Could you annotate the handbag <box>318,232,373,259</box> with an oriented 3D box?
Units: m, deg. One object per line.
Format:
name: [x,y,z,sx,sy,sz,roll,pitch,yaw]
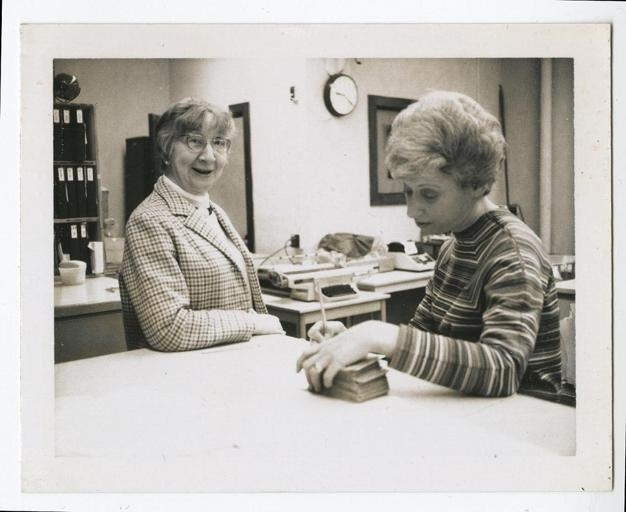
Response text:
handbag: [0.150,-0.057,2.739,0.159,0.061,0.123,0,11,-8]

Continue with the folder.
folder: [-1.010,-0.249,2.637,0.200,0.723,0.502,-4,8,-20]

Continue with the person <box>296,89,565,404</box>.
person: [0.445,-0.036,2.521,0.948,1.335,0.942,0,-2,-11]

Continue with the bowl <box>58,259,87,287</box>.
bowl: [-1.040,0.076,2.701,0.100,0.096,0.091,-2,5,0]

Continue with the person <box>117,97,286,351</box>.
person: [-0.425,-0.123,2.311,0.517,0.923,0.345,-8,9,-40]
